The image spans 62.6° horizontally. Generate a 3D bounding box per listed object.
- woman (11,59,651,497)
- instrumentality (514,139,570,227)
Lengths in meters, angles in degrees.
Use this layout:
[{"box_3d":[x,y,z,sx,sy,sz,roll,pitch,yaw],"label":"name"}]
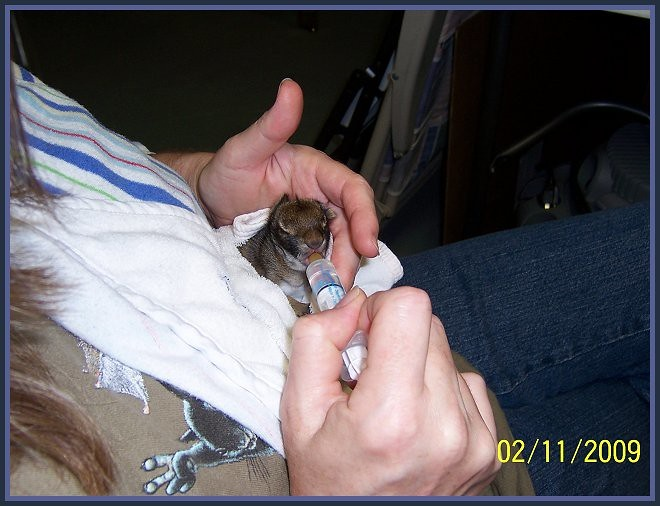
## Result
[{"box_3d":[0.160,0.292,1.812,2.022,0.848,1.280,0,62,-15],"label":"woman"},{"box_3d":[1.161,-0.339,2.989,0.291,0.578,0.186,0,7,33],"label":"instrumentality"}]
